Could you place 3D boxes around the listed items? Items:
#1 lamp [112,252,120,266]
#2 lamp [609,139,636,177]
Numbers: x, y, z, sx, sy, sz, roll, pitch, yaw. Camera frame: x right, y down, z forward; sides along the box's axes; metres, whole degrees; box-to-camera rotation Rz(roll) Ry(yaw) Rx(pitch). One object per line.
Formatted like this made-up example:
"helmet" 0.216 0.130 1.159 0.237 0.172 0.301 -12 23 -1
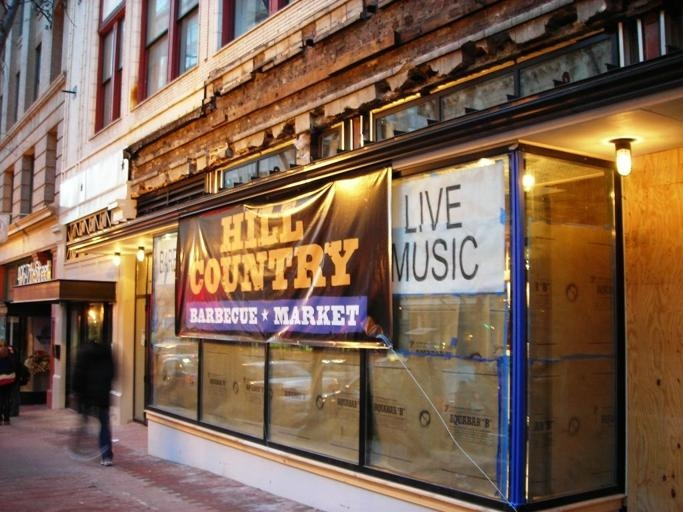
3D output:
"lamp" -5.154 0.050 17.306 0.124 0.273 0.134 6 -32 -13
"lamp" 3.307 -1.169 8.777 0.450 0.447 0.259 -7 0 -39
